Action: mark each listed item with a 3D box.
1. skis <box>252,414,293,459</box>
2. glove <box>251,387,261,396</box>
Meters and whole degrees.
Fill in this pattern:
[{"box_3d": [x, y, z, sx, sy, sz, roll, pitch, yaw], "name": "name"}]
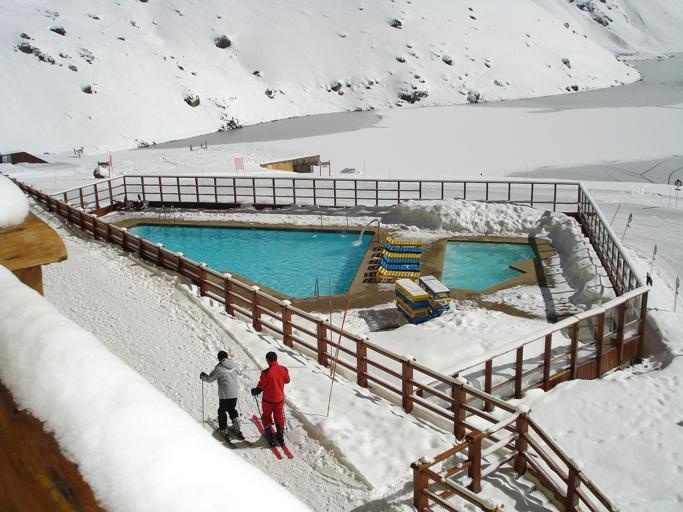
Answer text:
[{"box_3d": [-1.168, 2.741, 7.310, 0.251, 0.134, 1.350, -3, 18, -32], "name": "skis"}, {"box_3d": [-1.310, 2.013, 6.955, 0.157, 0.066, 0.194, -6, 16, -32], "name": "glove"}]
